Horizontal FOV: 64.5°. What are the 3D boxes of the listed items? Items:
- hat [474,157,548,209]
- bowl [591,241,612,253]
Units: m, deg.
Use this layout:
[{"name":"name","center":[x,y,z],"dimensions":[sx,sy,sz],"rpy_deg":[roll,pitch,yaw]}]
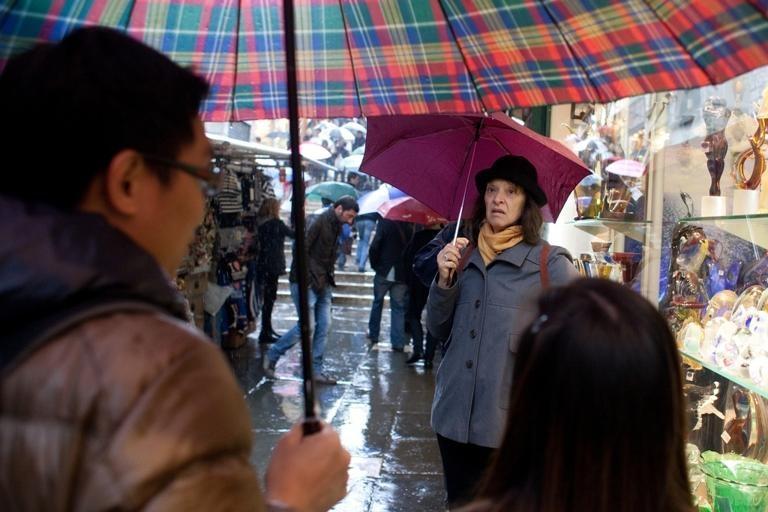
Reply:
[{"name":"hat","center":[0.710,-0.380,3.348],"dimensions":[0.331,0.145,0.280],"rpy_deg":[33,-11,-23]},{"name":"bowl","center":[1.431,-0.057,4.012],"dimensions":[0.085,0.057,0.088],"rpy_deg":[2,-10,0]}]
